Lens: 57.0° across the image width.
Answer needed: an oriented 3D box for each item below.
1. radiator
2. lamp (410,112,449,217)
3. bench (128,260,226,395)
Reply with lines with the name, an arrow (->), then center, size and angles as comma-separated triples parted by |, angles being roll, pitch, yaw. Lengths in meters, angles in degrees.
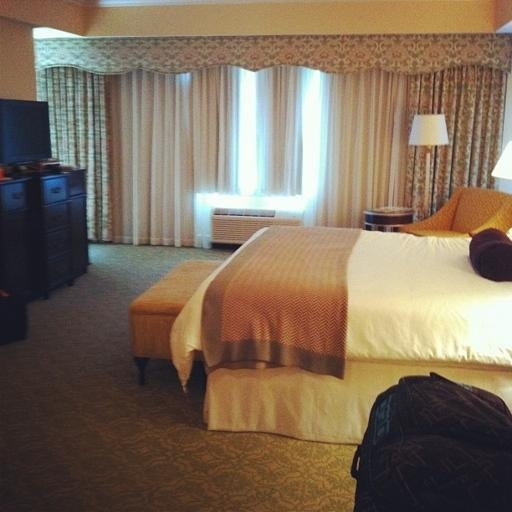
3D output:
radiator -> 0.018, -0.360, 5.971 | 1.150, 0.477, 0.309 | 4, 13, 10
lamp -> 1.845, -0.887, 5.068 | 0.370, 1.262, 0.346 | -7, 28, 1
bench -> -0.416, 0.408, 2.537 | 0.258, 0.255, 0.730 | 3, 12, 7
